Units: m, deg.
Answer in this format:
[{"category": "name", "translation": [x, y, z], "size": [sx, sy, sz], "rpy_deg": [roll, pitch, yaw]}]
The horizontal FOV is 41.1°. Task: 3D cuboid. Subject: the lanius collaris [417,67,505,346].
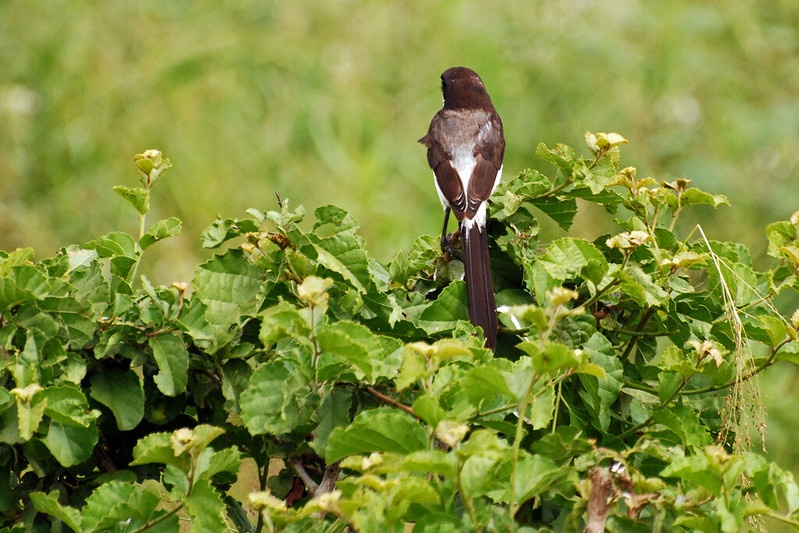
[{"category": "lanius collaris", "translation": [0.183, -0.270, 4.345], "size": [0.291, 1.271, 0.512], "rpy_deg": [-3, -30, 3]}]
